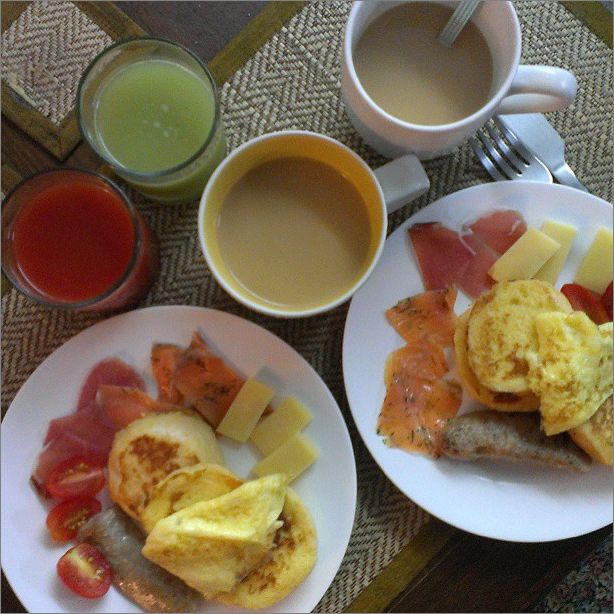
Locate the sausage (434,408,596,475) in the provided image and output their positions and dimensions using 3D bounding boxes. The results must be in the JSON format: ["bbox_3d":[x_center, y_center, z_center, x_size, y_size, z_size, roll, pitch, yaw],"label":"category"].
[{"bbox_3d":[0.350,0.231,1.043,0.212,0.053,0.120,3,45,-3],"label":"sausage"}]

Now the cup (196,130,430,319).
[{"bbox_3d":[-0.019,-0.114,0.929,0.267,0.131,0.272,0,75,-2],"label":"cup"}]

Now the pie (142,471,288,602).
[{"bbox_3d":[-0.128,0.364,0.974,0.241,0.123,0.170,-28,77,-9],"label":"pie"}]

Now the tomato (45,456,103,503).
[{"bbox_3d":[-0.392,0.299,1.053,0.087,0.039,0.071,-7,76,-4],"label":"tomato"}]

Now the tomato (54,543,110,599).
[{"bbox_3d":[-0.355,0.433,1.025,0.085,0.089,0.030,21,35,19],"label":"tomato"}]

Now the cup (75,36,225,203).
[{"bbox_3d":[-0.234,-0.293,1.032,0.195,0.227,0.247,-2,95,-2],"label":"cup"}]
